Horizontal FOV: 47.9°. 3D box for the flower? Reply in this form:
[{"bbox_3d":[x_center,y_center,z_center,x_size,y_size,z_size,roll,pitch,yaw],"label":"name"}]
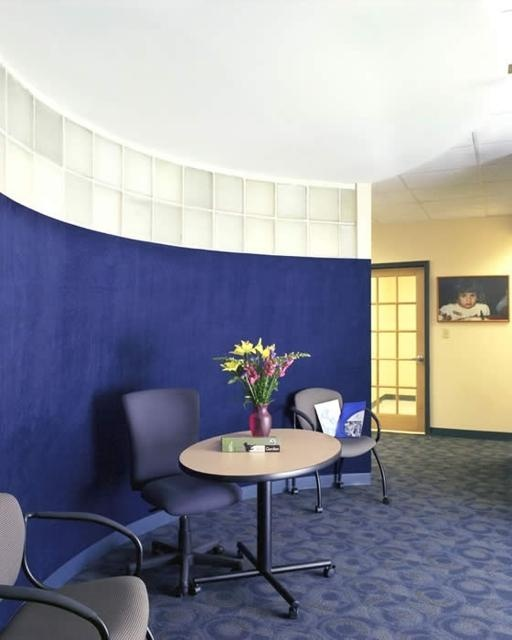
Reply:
[{"bbox_3d":[0.002,0.343,3.325,0.634,0.638,0.632,0,-6,-2],"label":"flower"}]
